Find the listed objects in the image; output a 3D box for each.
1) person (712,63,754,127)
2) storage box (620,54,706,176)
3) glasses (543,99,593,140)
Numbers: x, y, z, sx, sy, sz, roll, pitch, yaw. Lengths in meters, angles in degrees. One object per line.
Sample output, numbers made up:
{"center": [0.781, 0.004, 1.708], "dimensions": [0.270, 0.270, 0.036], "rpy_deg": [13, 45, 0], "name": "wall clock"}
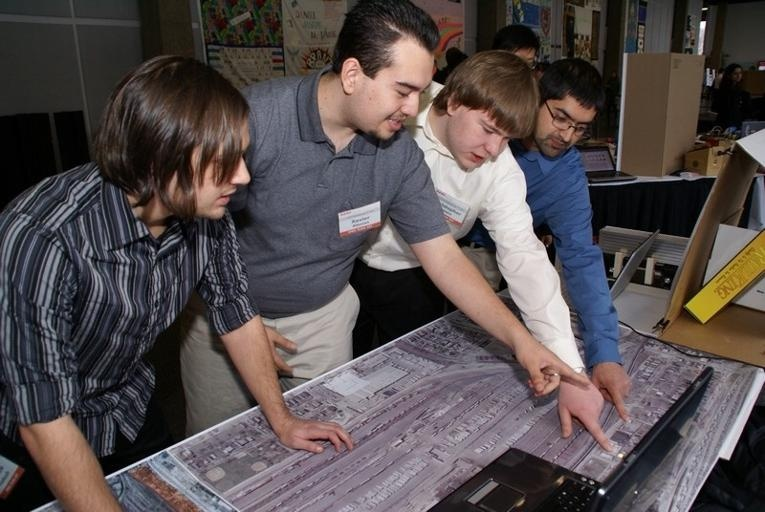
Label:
{"center": [4.856, -2.218, 6.979], "dimensions": [0.472, 0.706, 1.023], "rpy_deg": [11, 28, 32], "name": "person"}
{"center": [1.819, -0.921, 3.291], "dimensions": [0.239, 0.680, 0.766], "rpy_deg": [15, 13, 39], "name": "storage box"}
{"center": [0.690, -0.493, 1.900], "dimensions": [0.140, 0.048, 0.140], "rpy_deg": [15, 36, -41], "name": "glasses"}
